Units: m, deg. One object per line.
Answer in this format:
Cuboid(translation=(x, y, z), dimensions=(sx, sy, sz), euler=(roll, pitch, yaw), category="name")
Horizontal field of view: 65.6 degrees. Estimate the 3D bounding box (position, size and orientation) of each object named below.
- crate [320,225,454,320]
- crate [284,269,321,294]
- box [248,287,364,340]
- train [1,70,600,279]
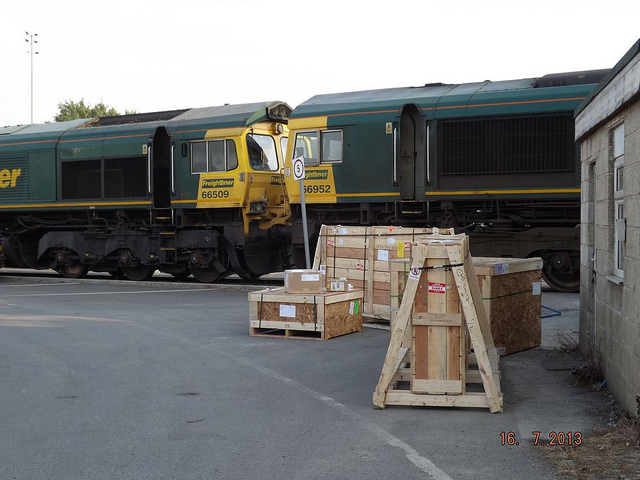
Cuboid(translation=(1.380, 0.708, 11.391), dimensions=(2.504, 2.052, 1.657), euler=(4, 5, 23), category="crate")
Cuboid(translation=(-0.363, 0.731, 9.197), dimensions=(0.466, 0.324, 0.479), euler=(0, -2, -24), category="crate")
Cuboid(translation=(-0.135, 1.545, 9.814), dimensions=(2.021, 1.108, 1.584), euler=(0, 0, 22), category="box")
Cuboid(translation=(-2.925, -1.858, 17.165), dimensions=(22.050, 6.544, 2.691), euler=(-1, 2, 20), category="train")
